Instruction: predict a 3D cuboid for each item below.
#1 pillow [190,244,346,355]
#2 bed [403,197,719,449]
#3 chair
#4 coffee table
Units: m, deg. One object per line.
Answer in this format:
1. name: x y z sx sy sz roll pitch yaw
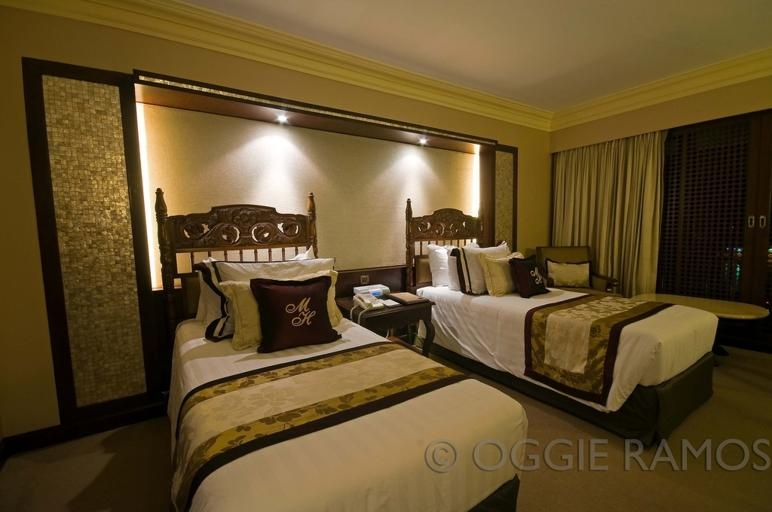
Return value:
1. pillow: -1.236 0.319 4.375 0.968 0.965 0.295 1 -21 -38
2. bed: 1.867 0.500 5.634 1.937 1.963 3.124 -13 12 -35
3. chair: 2.561 0.271 6.578 0.866 0.884 0.747 0 -9 5
4. coffee table: -0.037 0.571 5.283 0.719 0.736 0.785 -5 8 -29
